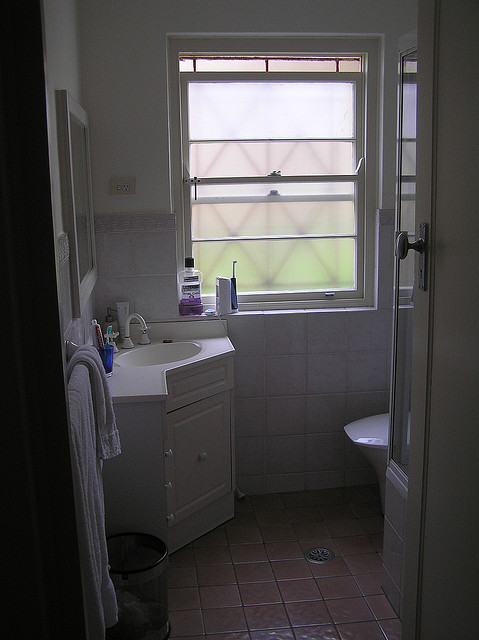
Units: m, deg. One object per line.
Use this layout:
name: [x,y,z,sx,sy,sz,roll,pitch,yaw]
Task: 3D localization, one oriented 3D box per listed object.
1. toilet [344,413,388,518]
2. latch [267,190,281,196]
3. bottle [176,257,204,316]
toilet: [0.655,0.717,2.628,0.299,0.301,0.334,0,13,16]
latch: [0.179,-0.676,2.816,0.060,0.029,0.009,0,7,4]
bottle: [-0.257,-0.177,2.768,0.126,0.343,0.088,-3,31,-7]
